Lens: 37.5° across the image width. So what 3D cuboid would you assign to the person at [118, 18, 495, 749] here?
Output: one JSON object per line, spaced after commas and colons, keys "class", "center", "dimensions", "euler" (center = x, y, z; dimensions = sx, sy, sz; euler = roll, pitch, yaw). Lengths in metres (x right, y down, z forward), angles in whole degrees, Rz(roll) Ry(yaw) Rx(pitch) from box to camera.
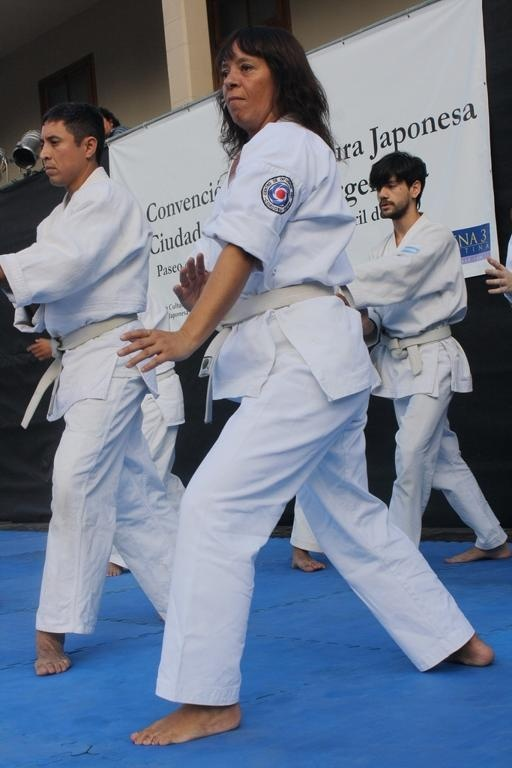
{"class": "person", "center": [0.000, 0.004, 1.601], "dimensions": [0.834, 1.518, 0.469], "euler": [-12, 14, -29]}
